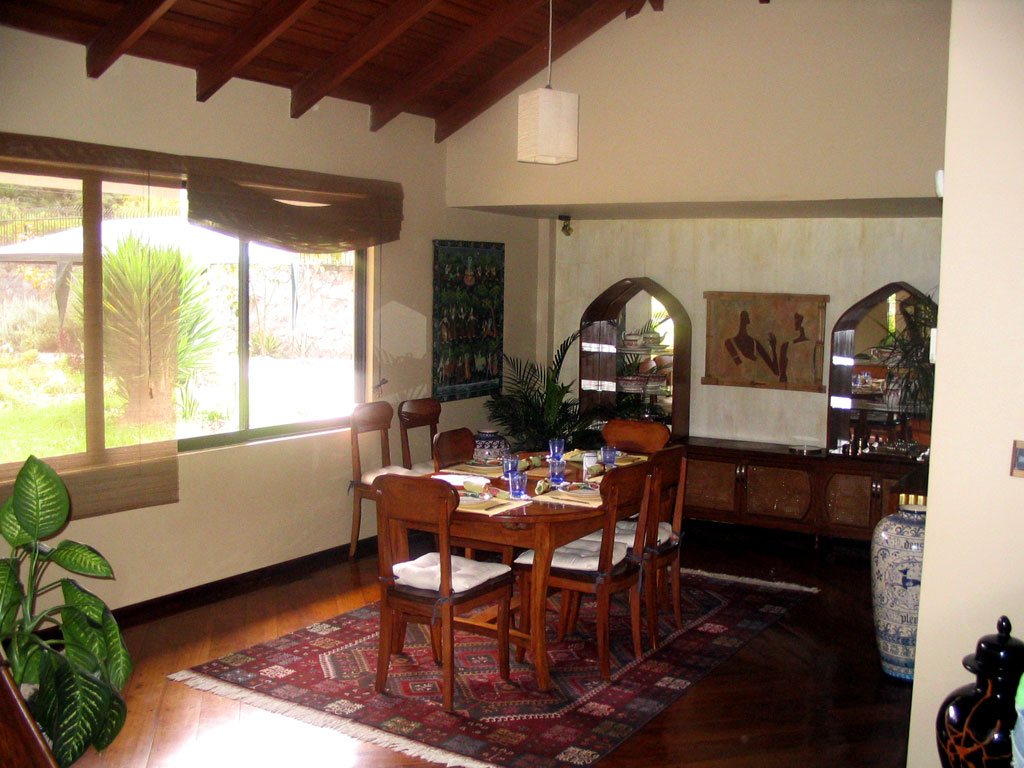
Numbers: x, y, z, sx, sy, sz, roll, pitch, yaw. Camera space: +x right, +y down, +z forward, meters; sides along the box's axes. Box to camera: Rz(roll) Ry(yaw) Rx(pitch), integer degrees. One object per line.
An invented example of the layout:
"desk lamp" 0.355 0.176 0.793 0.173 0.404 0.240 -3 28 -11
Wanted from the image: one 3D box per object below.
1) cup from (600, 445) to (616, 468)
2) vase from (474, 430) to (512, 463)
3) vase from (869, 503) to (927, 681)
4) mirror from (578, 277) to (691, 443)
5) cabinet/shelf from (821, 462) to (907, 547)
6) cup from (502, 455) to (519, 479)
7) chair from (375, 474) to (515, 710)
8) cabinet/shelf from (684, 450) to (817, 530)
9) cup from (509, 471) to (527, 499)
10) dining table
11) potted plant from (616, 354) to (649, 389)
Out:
"cup" 0.632 0.477 4.977 0.108 0.132 0.115 0 -2 0
"vase" -0.124 0.431 5.317 0.190 0.192 0.256 0 0 38
"vase" 2.124 1.174 4.286 0.238 0.977 0.271 4 7 24
"mirror" 1.195 -0.213 7.642 1.461 2.210 0.411 3 3 44
"cabinet/shelf" 2.740 0.905 5.985 0.668 0.673 0.356 1 -1 36
"cup" 0.005 0.513 4.752 0.117 0.199 0.123 1 -2 0
"chair" -0.365 1.043 4.115 0.729 1.203 0.560 1 7 1
"cabinet/shelf" 2.114 0.906 6.709 0.794 0.496 0.303 2 3 27
"cup" 0.038 0.601 4.488 0.095 0.153 0.095 0 -5 0
"dining table" 0.120 0.812 4.449 1.146 0.876 1.427 2 6 26
"potted plant" 1.277 -0.118 8.124 0.327 0.513 0.341 0 -2 1
